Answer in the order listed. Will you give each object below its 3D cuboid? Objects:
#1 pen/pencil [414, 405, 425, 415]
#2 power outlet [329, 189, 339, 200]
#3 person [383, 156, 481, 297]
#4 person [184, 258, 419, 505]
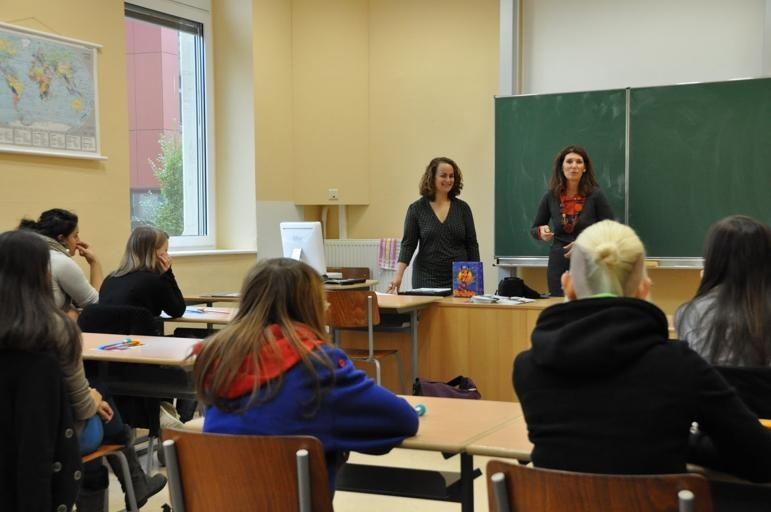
[{"bbox_3d":[0.132,0.602,2.571,0.028,0.024,0.031,3,6,29],"label":"pen/pencil"},{"bbox_3d":[-0.559,-0.666,6.982,0.105,0.116,0.011,1,7,-3],"label":"power outlet"},{"bbox_3d":[0.392,-0.245,5.017,0.586,0.978,0.194,0,9,9],"label":"person"},{"bbox_3d":[-0.315,0.592,2.496,0.820,1.137,0.659,1,2,14],"label":"person"}]
